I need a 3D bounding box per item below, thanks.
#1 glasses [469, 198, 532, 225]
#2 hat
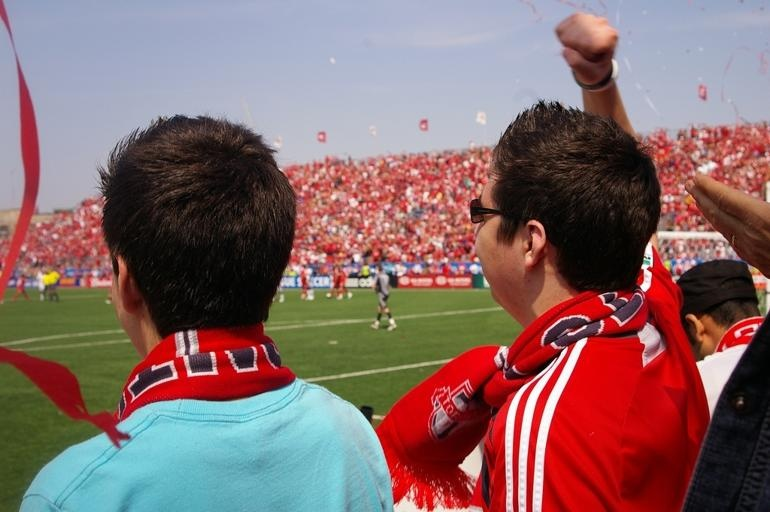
[{"bbox_3d":[0.392,-0.158,2.711,0.136,0.042,0.112,13,1,30],"label":"glasses"},{"bbox_3d":[1.716,0.144,3.788,0.360,0.261,0.468,-6,-10,-5],"label":"hat"}]
